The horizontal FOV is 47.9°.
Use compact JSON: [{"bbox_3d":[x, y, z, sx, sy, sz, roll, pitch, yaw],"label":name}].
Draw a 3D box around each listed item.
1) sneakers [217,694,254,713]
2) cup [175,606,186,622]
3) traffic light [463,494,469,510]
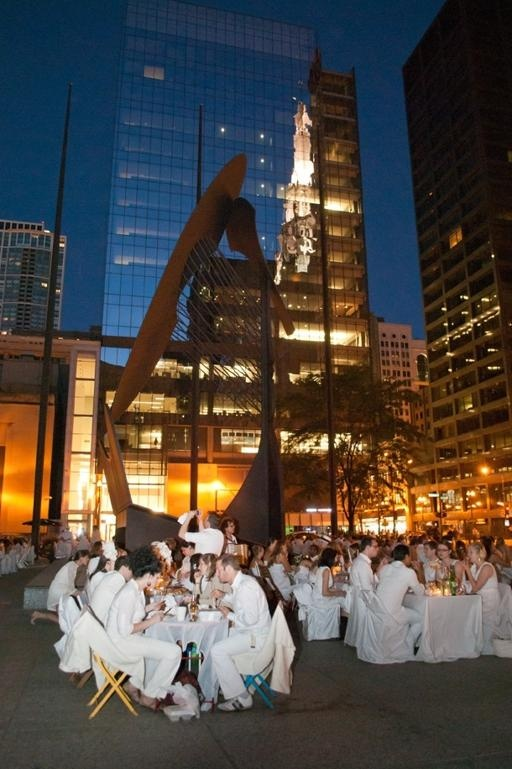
[{"bbox_3d":[-0.178,2.679,4.888,0.226,0.110,0.140,0,-25,9],"label":"sneakers"},{"bbox_3d":[-0.683,2.082,5.258,0.119,0.130,0.118,1,-2,0],"label":"cup"},{"bbox_3d":[21.216,11.845,58.658,0.422,1.720,0.978,-1,-9,1],"label":"traffic light"}]
